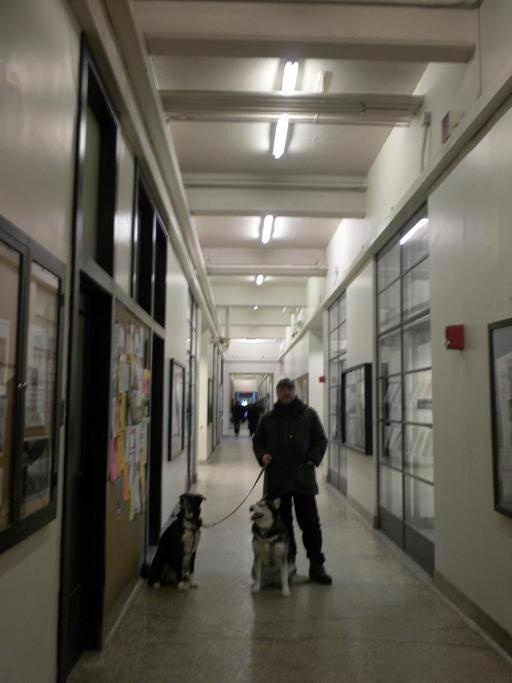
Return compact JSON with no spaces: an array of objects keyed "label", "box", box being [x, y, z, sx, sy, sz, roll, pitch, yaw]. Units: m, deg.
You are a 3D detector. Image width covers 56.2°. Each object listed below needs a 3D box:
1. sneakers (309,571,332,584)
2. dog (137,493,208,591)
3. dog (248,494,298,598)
[{"label":"sneakers","box":[0.492,1.789,3.631,0.072,0.141,0.163,6,-23,-34]},{"label":"dog","box":[-0.577,1.378,3.435,0.360,0.718,0.232,3,1,19]},{"label":"dog","box":[0.120,1.415,3.497,0.279,0.783,0.566,2,2,21]}]
